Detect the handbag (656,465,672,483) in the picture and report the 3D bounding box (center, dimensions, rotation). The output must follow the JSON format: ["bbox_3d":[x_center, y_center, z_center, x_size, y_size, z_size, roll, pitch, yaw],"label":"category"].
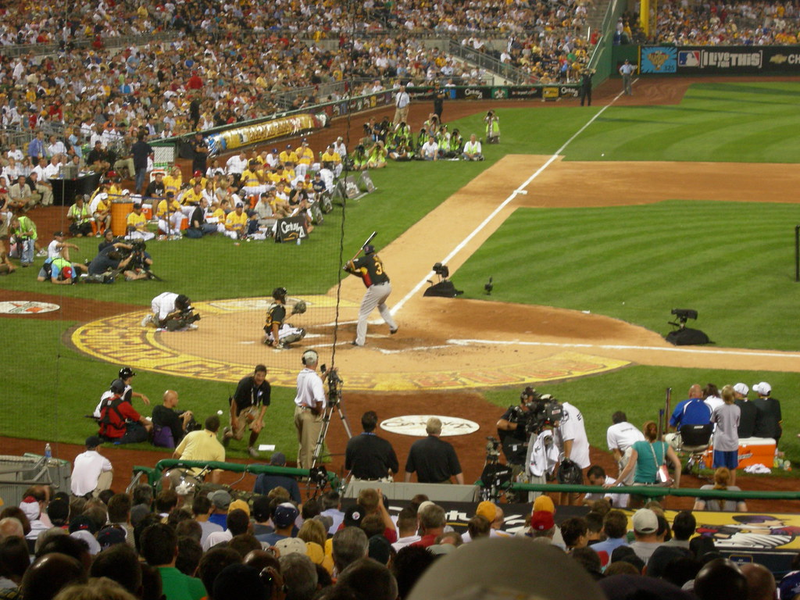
[{"bbox_3d":[5.671,3.789,33.364,0.306,0.248,0.332,7,8,18],"label":"handbag"}]

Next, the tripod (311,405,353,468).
[{"bbox_3d":[-1.567,3.119,34.213,0.834,1.312,0.926,-6,17,-26],"label":"tripod"}]

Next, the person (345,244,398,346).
[{"bbox_3d":[-0.742,-0.087,41.185,1.217,2.549,1.349,3,-1,8],"label":"person"}]

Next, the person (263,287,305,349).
[{"bbox_3d":[-3.155,0.504,40.594,0.992,1.493,1.691,3,-1,13],"label":"person"}]

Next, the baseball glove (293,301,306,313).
[{"bbox_3d":[-2.645,0.238,41.057,0.287,0.330,0.364,2,1,-9],"label":"baseball glove"}]
